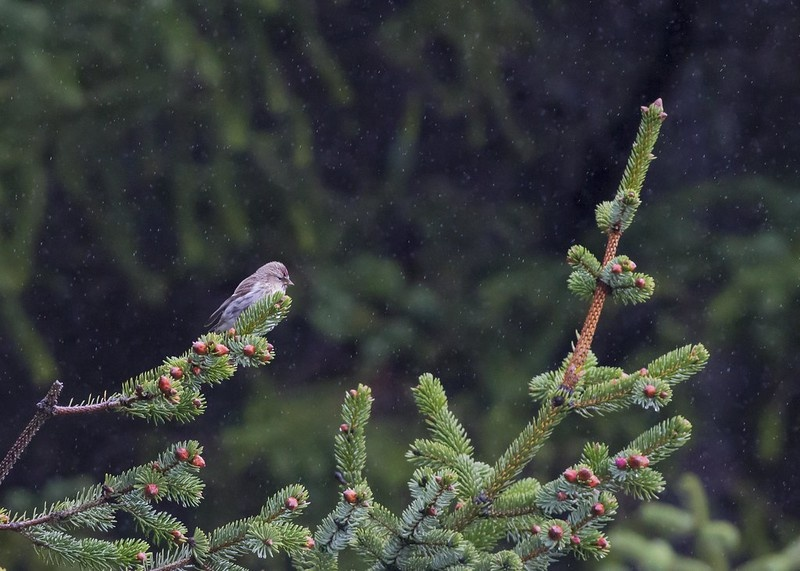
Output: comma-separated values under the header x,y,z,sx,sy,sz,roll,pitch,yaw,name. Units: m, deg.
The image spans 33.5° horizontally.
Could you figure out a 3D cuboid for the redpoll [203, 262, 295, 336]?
x,y,z,sx,sy,sz,roll,pitch,yaw,name
-0.855,0.078,7.410,0.476,0.492,0.271,6,-8,16,redpoll
